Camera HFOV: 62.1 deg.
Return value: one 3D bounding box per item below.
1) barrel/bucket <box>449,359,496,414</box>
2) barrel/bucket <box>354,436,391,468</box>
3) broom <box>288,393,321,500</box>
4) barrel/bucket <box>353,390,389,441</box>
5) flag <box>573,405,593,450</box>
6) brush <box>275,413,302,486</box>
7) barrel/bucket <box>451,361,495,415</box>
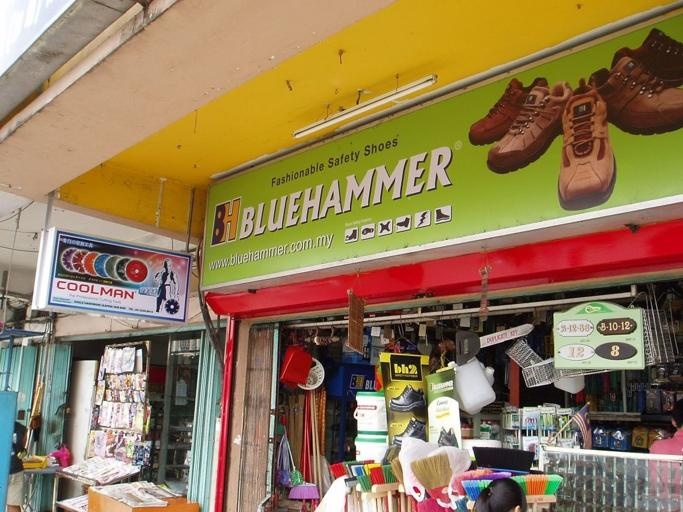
[{"bbox_3d":[1.031,1.023,4.402,0.316,0.405,0.381,2,-2,26],"label":"barrel/bucket"},{"bbox_3d":[0.254,1.577,4.603,0.224,0.198,0.214,1,-10,0],"label":"barrel/bucket"},{"bbox_3d":[-0.369,2.041,6.184,0.245,1.026,0.337,4,-4,-3],"label":"broom"},{"bbox_3d":[0.238,1.321,4.732,0.195,0.342,0.257,5,-4,-35],"label":"barrel/bucket"},{"bbox_3d":[1.694,1.186,3.980,0.108,0.288,0.289,-8,-17,21],"label":"flag"},{"bbox_3d":[-0.545,2.058,6.033,0.267,0.727,0.330,-1,-17,-4],"label":"brush"},{"bbox_3d":[1.031,0.992,4.380,0.293,0.404,0.209,-6,-17,13],"label":"barrel/bucket"}]
